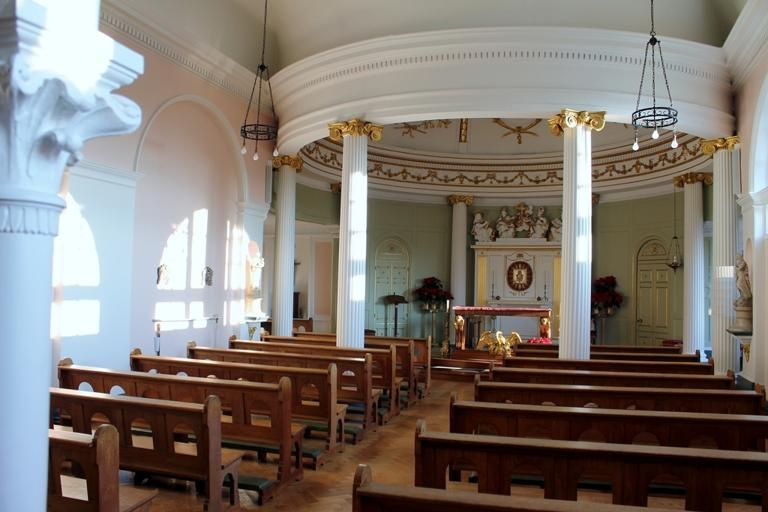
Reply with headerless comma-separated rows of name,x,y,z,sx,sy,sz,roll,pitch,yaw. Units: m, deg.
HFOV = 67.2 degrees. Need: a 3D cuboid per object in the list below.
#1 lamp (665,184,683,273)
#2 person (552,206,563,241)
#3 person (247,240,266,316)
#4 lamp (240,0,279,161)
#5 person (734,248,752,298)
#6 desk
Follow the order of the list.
lamp,7.246,-0.713,14.419,0.377,2.159,0.644,-3,-5,26
person,5.027,-0.905,16.838,0.316,1.021,0.371,-1,-4,12
person,-2.616,0.468,12.005,0.336,1.632,0.532,-2,-4,17
lamp,-2.524,-3.442,11.683,0.754,3.168,1.917,0,-4,-11
person,6.063,0.332,9.677,0.206,0.752,0.221,-3,-5,33
desk,3.187,1.877,15.260,2.377,1.147,3.368,-2,-4,13
